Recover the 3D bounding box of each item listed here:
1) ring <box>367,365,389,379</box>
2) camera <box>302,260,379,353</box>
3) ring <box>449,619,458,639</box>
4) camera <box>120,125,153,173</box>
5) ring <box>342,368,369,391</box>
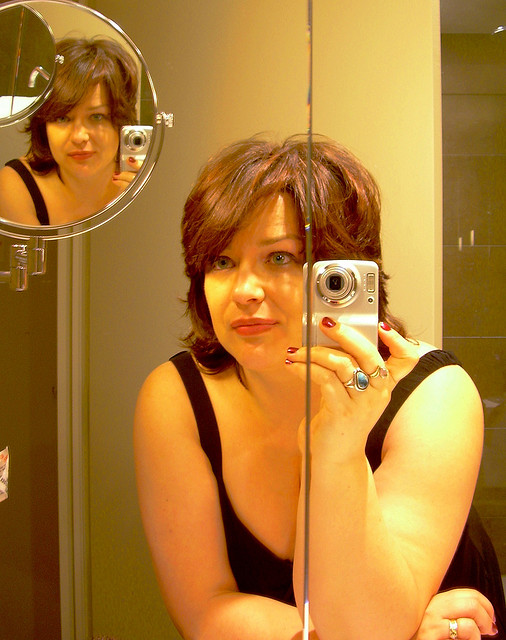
[{"bbox_3d":[0.163,0.065,0.794,0.016,0.012,0.019,-6,2,-18],"label":"ring"},{"bbox_3d":[0.116,0.009,0.799,0.093,0.168,0.065,-1,-22,13],"label":"camera"},{"bbox_3d":[0.278,0.431,0.871,0.007,0.021,0.020,3,28,20],"label":"ring"},{"bbox_3d":[-0.168,-0.243,0.902,0.048,0.015,0.093,-7,-40,-20],"label":"camera"},{"bbox_3d":[0.131,0.076,0.797,0.027,0.018,0.023,-2,-25,31],"label":"ring"}]
